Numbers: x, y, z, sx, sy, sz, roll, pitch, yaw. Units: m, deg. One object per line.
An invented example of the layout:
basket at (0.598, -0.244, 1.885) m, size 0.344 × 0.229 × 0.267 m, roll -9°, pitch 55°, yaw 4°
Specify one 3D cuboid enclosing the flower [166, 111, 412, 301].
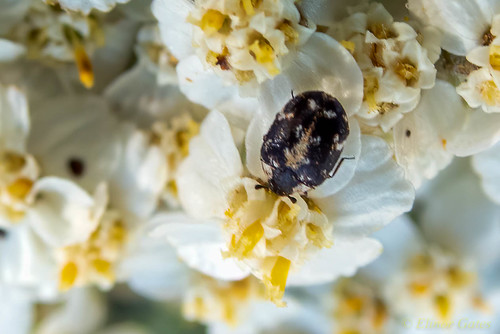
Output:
flower at (0.066, 0.065, 1.118) m, size 0.342 × 0.103 × 0.354 m, roll -16°, pitch 21°, yaw -33°
